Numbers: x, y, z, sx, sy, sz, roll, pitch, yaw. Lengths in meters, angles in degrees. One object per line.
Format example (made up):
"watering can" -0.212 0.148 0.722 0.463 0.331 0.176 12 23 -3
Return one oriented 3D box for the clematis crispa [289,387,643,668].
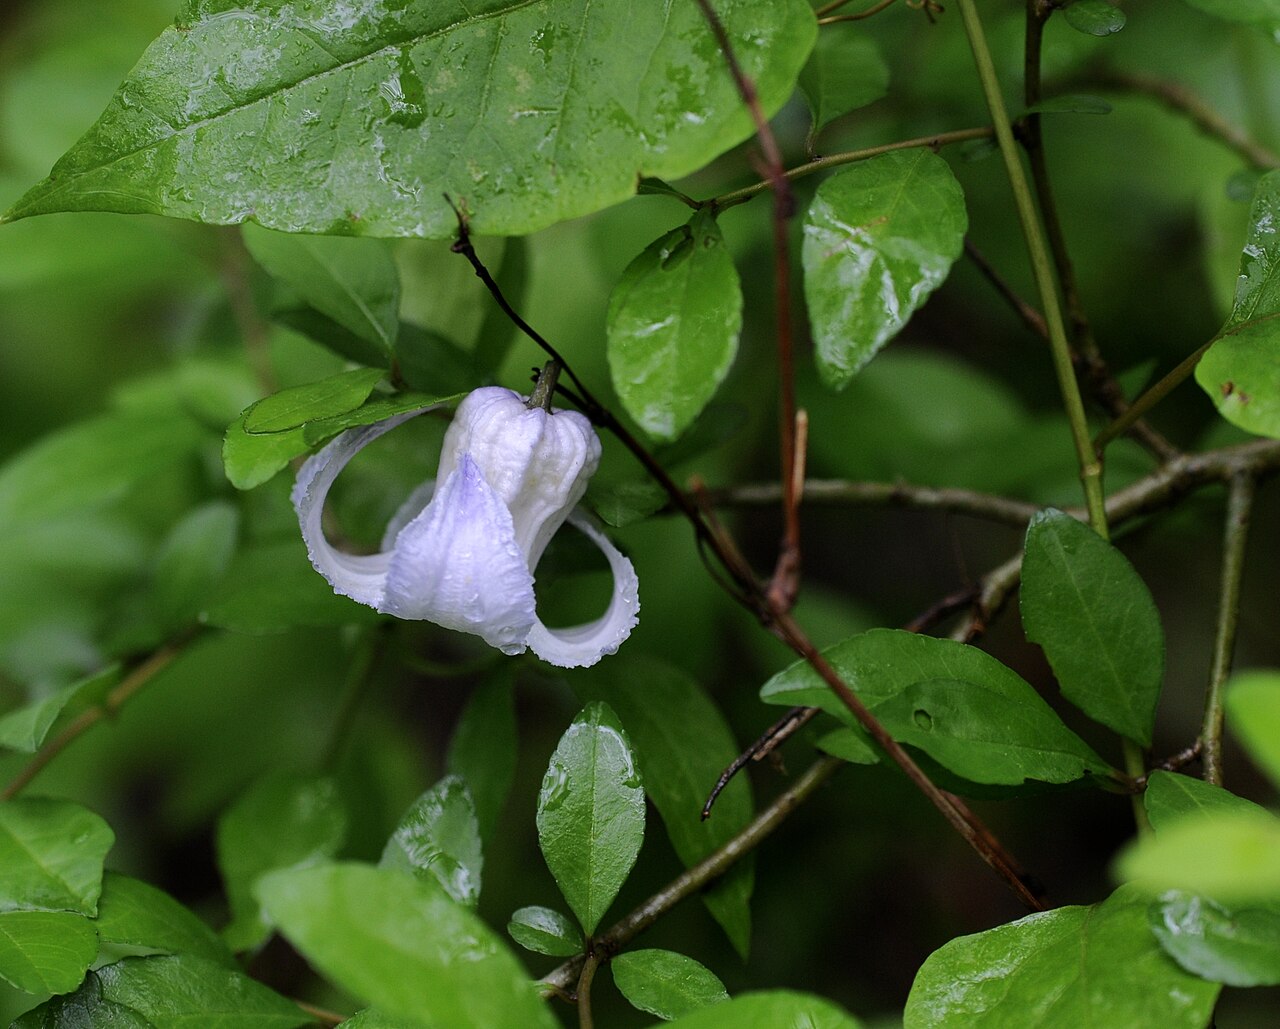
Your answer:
"clematis crispa" -0.114 0.019 0.894 0.206 0.145 0.167 20 25 -9
